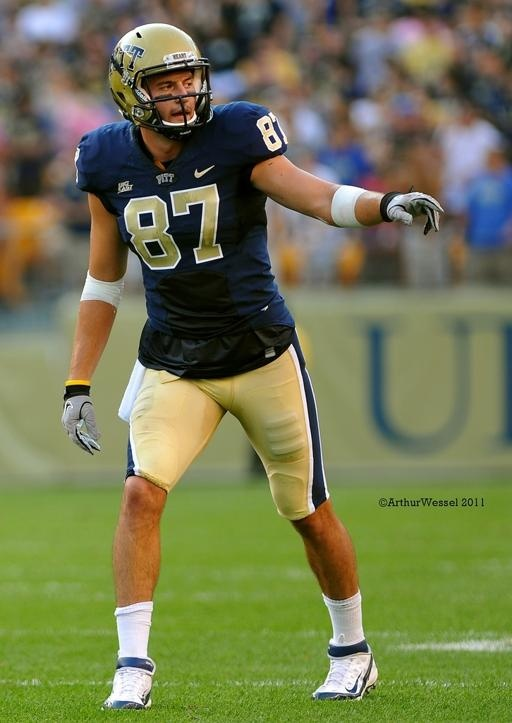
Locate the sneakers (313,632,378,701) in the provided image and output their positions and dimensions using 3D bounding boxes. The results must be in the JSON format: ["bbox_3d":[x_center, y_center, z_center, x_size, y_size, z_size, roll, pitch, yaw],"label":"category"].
[{"bbox_3d":[0.238,0.819,2.372,0.088,0.109,0.240,-4,1,23],"label":"sneakers"}]

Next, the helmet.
[{"bbox_3d":[-0.259,-0.728,2.282,0.285,0.269,0.364,-9,18,-25],"label":"helmet"}]

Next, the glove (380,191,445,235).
[{"bbox_3d":[0.336,-0.317,1.943,0.187,0.102,0.113,-1,8,4],"label":"glove"}]

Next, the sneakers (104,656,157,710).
[{"bbox_3d":[-0.285,0.743,2.016,0.067,0.068,0.173,2,-6,1],"label":"sneakers"}]

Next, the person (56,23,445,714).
[{"bbox_3d":[-0.105,0.061,2.356,0.902,1.857,0.966,-15,23,-16],"label":"person"}]
